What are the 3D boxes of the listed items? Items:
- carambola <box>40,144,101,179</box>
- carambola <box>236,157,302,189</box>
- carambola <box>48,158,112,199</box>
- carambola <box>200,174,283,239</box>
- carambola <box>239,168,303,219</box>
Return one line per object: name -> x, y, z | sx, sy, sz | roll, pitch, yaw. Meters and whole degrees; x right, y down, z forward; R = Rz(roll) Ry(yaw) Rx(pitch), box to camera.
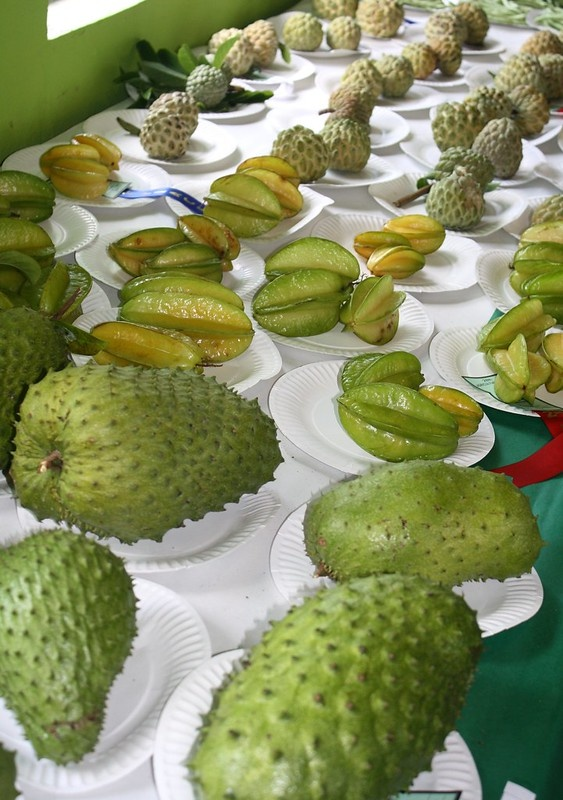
carambola -> -0.352, -0.412, 1.289 | 0.101, 0.033, 0.051 | -18, 26, -30
carambola -> -0.019, -0.397, 1.314 | 0.092, 0.054, 0.026 | 7, -5, -12
carambola -> -0.330, -0.367, 1.237 | 0.094, 0.061, 0.032 | 6, -6, -12
carambola -> -0.052, -0.312, 1.214 | 0.126, 0.090, 0.043 | 24, 35, 9
carambola -> -0.015, -0.357, 1.283 | 0.102, 0.070, 0.034 | 31, 24, -16
